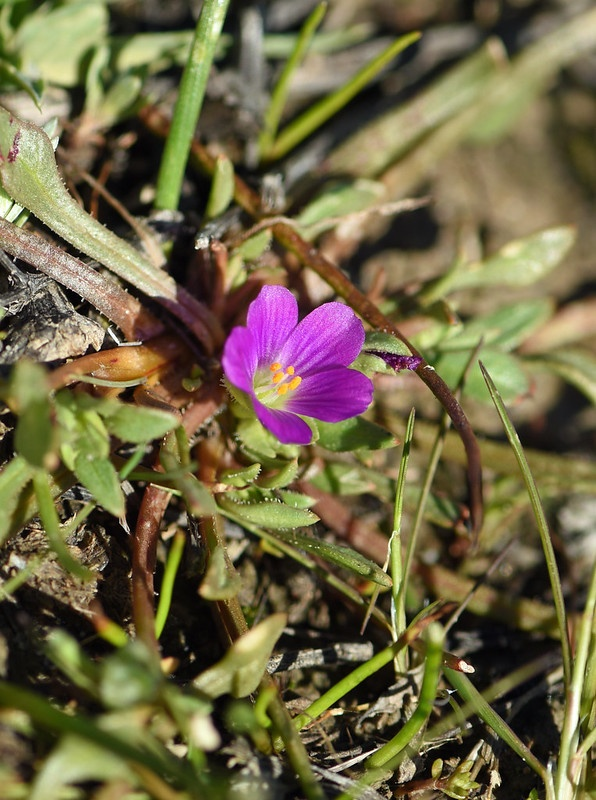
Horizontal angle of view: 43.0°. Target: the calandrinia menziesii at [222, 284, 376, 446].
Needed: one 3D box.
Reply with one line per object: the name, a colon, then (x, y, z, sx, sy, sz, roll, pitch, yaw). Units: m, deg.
calandrinia menziesii: (0.012, -0.058, 1.342, 0.231, 0.343, 0.296, -2, 72, 5)
